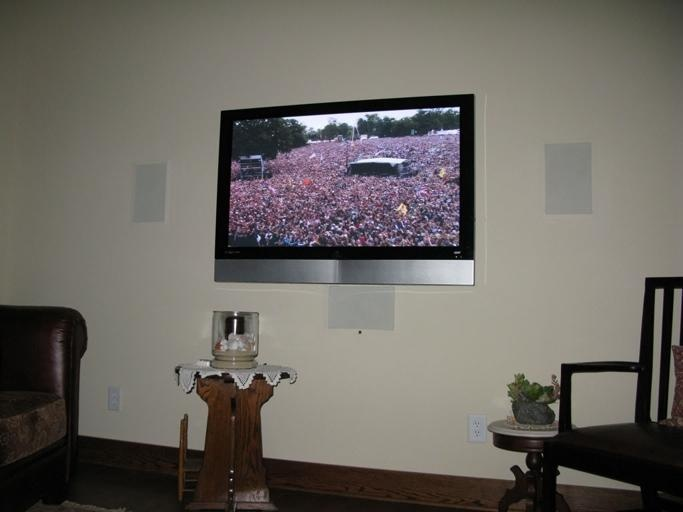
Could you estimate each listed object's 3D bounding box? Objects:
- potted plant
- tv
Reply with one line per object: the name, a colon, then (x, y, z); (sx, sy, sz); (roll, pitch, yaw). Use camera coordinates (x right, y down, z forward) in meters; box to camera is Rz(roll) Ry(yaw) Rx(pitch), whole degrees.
potted plant: (0.964, 0.722, 2.969); (0.224, 0.181, 0.248); (7, -17, 2)
tv: (0.069, -0.360, 3.357); (1.040, 0.788, 0.050); (-1, -1, 13)
